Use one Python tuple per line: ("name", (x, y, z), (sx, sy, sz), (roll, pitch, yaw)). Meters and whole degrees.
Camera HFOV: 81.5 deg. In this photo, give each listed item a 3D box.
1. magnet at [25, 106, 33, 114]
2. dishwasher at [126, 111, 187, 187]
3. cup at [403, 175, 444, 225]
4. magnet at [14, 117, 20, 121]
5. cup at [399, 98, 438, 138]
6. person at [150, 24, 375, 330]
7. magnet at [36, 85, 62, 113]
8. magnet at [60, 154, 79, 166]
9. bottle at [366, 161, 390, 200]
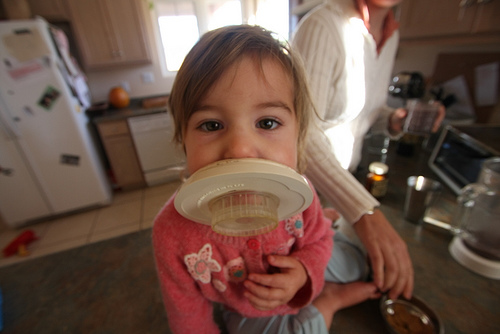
("magnet", (-1.933, -0.505, 2.530), (0.019, 0.017, 0.064), (-1, -13, 6))
("dishwasher", (-1.053, -0.190, 3.255), (0.448, 0.856, 0.159), (-3, 26, -2))
("cup", (0.880, 0.156, 1.497), (0.144, 0.188, 0.235), (16, 32, 33))
("magnet", (-2.024, -0.423, 2.518), (0.039, 0.033, 0.008), (-9, 27, -12))
("cup", (0.921, -0.273, 1.660), (0.182, 0.208, 0.159), (3, 24, 5))
("person", (0.022, 0.087, 1.223), (0.885, 1.235, 0.551), (-1, 26, 3))
("magnet", (-1.780, -0.605, 2.563), (0.154, 0.221, 0.064), (33, 3, -33))
("magnet", (-1.719, -0.068, 2.750), (0.121, 0.086, 0.041), (7, 8, -29))
("bottle", (0.701, 0.073, 1.606), (0.119, 0.189, 0.120), (-4, 21, 2))
